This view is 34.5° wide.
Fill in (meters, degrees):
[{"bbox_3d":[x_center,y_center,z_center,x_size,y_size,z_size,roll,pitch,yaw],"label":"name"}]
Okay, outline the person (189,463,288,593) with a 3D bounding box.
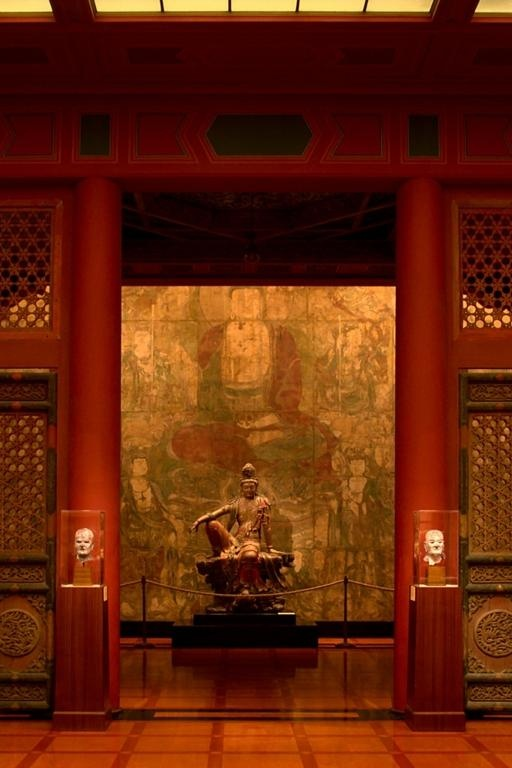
[{"bbox_3d":[-0.114,1.601,8.351,0.932,0.993,0.613,0,-9,1],"label":"person"}]
